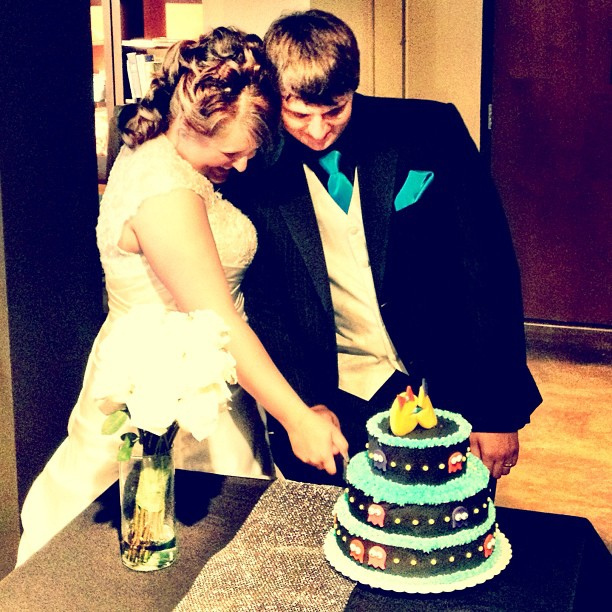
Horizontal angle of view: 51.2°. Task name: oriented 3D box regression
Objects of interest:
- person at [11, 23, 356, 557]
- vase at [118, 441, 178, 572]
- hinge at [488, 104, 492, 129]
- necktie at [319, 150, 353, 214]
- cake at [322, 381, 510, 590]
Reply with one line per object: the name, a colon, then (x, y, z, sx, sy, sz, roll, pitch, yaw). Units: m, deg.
person: (-0.251, 0.034, 1.594, 0.870, 1.201, 0.760, -2, 34, -23)
vase: (-0.263, 0.326, 1.155, 0.118, 0.239, 0.127, 8, 20, 8)
hinge: (1.520, -1.568, 5.275, 0.042, 0.192, 0.013, -9, 13, -43)
necktie: (0.079, -0.337, 1.727, 0.087, 0.165, 0.041, 0, 10, 1)
cake: (0.212, 0.332, 1.205, 0.303, 0.312, 0.331, -5, -4, 8)
